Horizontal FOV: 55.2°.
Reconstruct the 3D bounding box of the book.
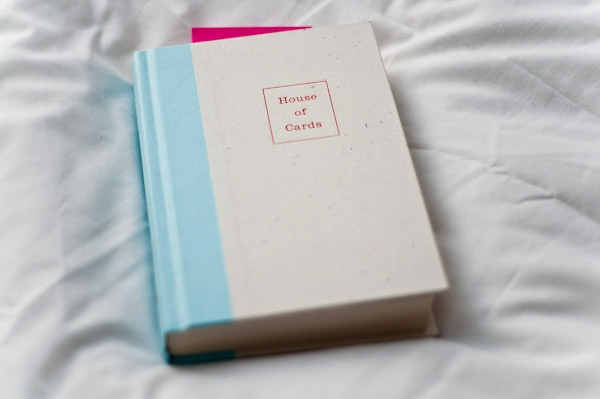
[{"bbox_3d":[-0.026,-0.025,0.731,0.332,0.275,0.356,-10,37,0],"label":"book"}]
